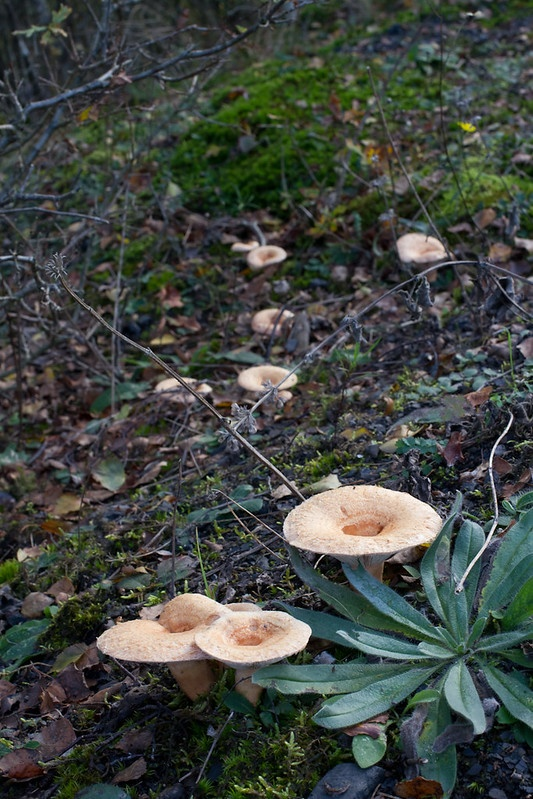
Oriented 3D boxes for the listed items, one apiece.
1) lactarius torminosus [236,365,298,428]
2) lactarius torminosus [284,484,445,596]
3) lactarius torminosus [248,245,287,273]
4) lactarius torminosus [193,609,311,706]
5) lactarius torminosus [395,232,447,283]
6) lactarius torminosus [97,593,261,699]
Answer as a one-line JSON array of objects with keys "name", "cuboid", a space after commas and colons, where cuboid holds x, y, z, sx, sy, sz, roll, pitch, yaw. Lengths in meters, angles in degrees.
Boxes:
[{"name": "lactarius torminosus", "cuboid": [0.019, -0.015, 4.777, 0.392, 0.260, 0.328, 5, 44, 9]}, {"name": "lactarius torminosus", "cuboid": [0.380, 0.491, 3.246, 0.537, 0.127, 0.576, -29, 36, -35]}, {"name": "lactarius torminosus", "cuboid": [-0.006, -0.917, 5.259, 0.233, 0.129, 0.308, -9, 29, -2]}, {"name": "lactarius torminosus", "cuboid": [-0.058, 0.974, 3.047, 0.438, 0.285, 0.380, -1, 13, -15]}, {"name": "lactarius torminosus", "cuboid": [1.044, -0.986, 5.547, 0.338, 0.112, 0.315, -33, 52, -23]}, {"name": "lactarius torminosus", "cuboid": [-0.380, 0.955, 3.155, 0.560, 0.191, 0.511, -7, 7, -29]}]
